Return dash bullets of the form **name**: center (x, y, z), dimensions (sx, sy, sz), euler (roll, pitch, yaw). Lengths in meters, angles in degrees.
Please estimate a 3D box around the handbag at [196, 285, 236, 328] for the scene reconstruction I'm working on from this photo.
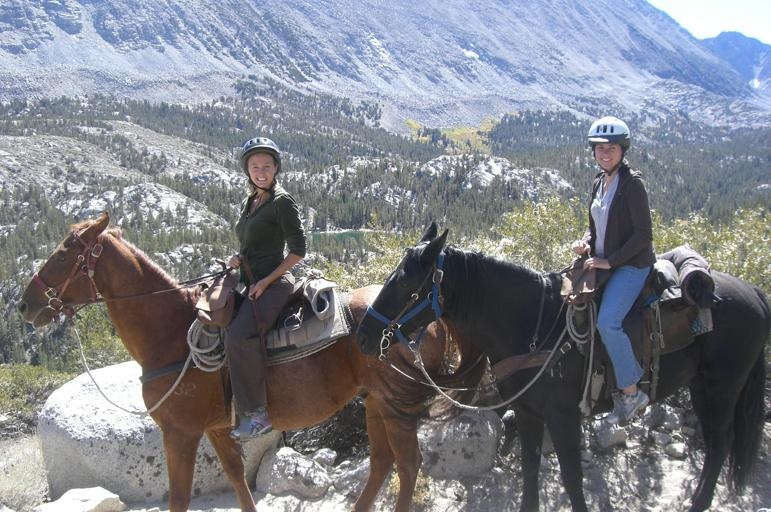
- **handbag**: center (-3.685, 1.065, 15.613), dimensions (0.803, 1.003, 0.520), euler (1, -18, 19)
